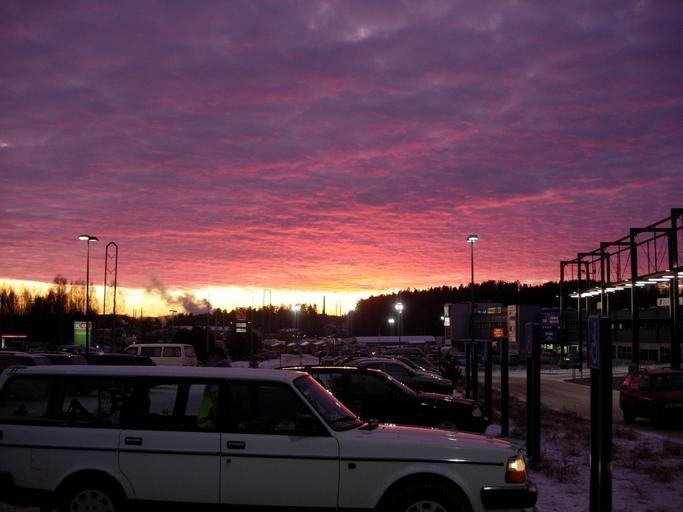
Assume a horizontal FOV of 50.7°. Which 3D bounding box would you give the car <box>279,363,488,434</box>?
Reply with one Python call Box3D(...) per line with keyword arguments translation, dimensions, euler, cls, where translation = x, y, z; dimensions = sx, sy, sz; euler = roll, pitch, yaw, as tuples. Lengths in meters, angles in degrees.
Box3D(translation=(1.095, 3.505, 16.428), dimensions=(4.895, 1.630, 2.029), euler=(0, -6, -2), cls="car")
